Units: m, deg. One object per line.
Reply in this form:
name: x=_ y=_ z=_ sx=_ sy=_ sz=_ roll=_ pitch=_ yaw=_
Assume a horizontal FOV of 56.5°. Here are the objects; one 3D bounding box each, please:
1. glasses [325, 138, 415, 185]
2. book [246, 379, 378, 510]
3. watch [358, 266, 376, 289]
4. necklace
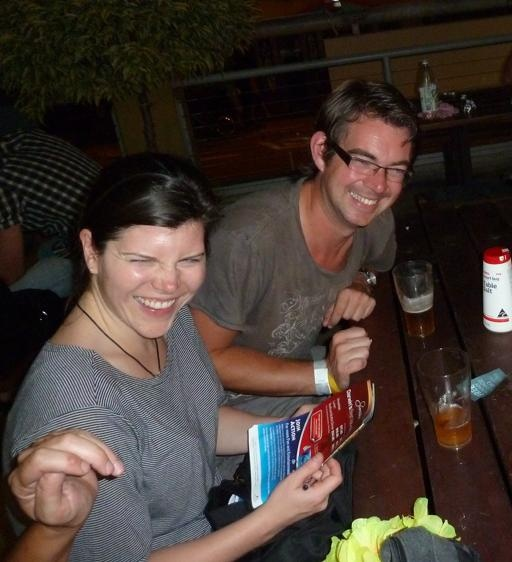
glasses: x=0.350 y=-0.394 z=1.436 sx=0.162 sy=0.050 sz=0.166 roll=8 pitch=32 yaw=-40
book: x=0.128 y=0.357 z=1.030 sx=0.292 sy=0.148 sz=0.034 roll=-17 pitch=10 yaw=-9
watch: x=0.414 y=-0.012 z=1.806 sx=0.060 sy=0.037 sz=0.068 roll=5 pitch=40 yaw=-38
necklace: x=-0.306 y=0.146 z=1.021 sx=0.011 sy=0.178 sz=0.134 roll=-32 pitch=2 yaw=28
